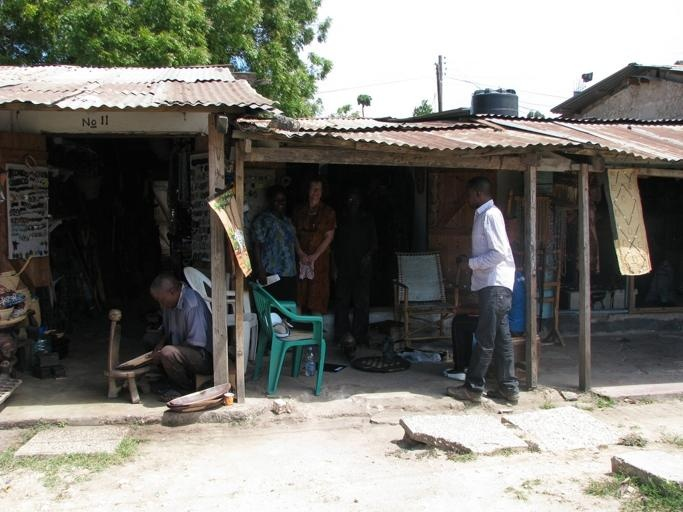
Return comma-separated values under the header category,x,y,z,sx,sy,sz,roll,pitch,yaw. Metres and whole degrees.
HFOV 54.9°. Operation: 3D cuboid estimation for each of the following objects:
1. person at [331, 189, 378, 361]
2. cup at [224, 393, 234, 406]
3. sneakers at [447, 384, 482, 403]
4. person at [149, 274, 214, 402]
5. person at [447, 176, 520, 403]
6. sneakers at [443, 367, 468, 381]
category,x,y,z,sx,sy,sz,roll,pitch,yaw
person,0.220,0.189,10.116,0.639,2.426,0.279,0,2,-2
cup,-1.322,1.697,7.804,0.125,0.131,0.124,0,3,0
sneakers,1.535,1.700,8.198,0.433,0.199,0.173,9,8,35
person,-1.962,0.969,8.105,0.708,1.516,0.473,-1,2,-14
person,1.801,0.420,8.098,0.736,2.809,0.372,0,2,14
sneakers,1.537,1.591,8.916,0.177,0.093,0.298,-3,9,-26
